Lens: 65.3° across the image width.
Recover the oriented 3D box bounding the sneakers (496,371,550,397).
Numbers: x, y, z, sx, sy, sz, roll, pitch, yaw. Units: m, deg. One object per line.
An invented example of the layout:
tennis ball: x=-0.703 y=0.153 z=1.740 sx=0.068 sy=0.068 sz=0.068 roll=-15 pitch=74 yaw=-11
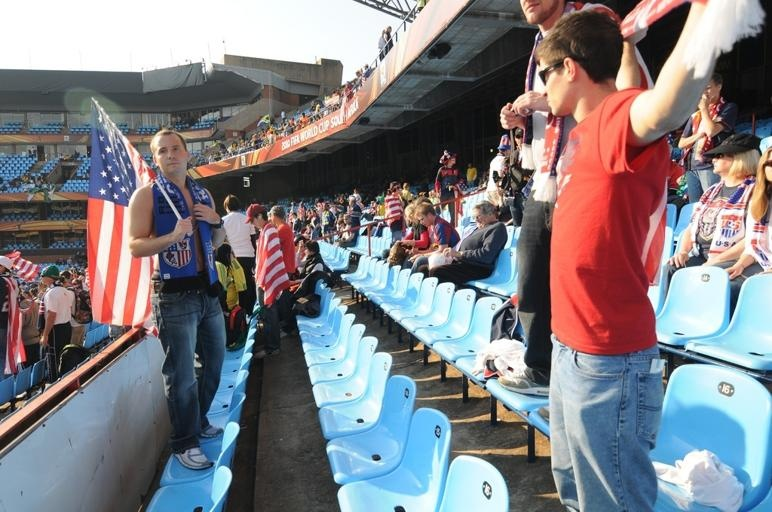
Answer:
sneakers: x=0.940 y=0.866 z=4.157 sx=0.355 sy=0.202 sz=0.127 roll=4 pitch=-4 yaw=36

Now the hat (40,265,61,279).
hat: x=-5.160 y=0.255 z=9.252 sx=0.172 sy=0.186 sz=0.271 roll=23 pitch=-10 yaw=0

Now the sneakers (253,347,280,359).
sneakers: x=-1.345 y=1.079 z=6.720 sx=0.297 sy=0.134 sz=0.098 roll=8 pitch=-14 yaw=-40

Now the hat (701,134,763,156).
hat: x=3.037 y=-0.961 z=5.235 sx=0.310 sy=0.120 sz=0.237 roll=-9 pitch=-1 yaw=-6

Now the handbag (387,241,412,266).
handbag: x=0.191 y=-0.045 z=8.380 sx=0.148 sy=0.426 sz=0.554 roll=6 pitch=3 yaw=-3

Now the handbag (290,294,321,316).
handbag: x=-0.961 y=0.595 z=7.214 sx=0.269 sy=0.136 sz=0.244 roll=5 pitch=5 yaw=19

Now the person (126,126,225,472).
person: x=-1.488 y=0.271 z=4.476 sx=0.507 sy=2.436 sz=0.664 roll=-1 pitch=7 yaw=26

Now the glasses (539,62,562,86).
glasses: x=0.849 y=-0.952 z=3.106 sx=0.084 sy=0.032 sz=0.087 roll=-35 pitch=-2 yaw=8

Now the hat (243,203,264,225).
hat: x=-1.723 y=-0.553 z=7.765 sx=0.289 sy=0.190 sz=0.221 roll=-23 pitch=19 yaw=35

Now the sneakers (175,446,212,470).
sneakers: x=-1.384 y=1.448 z=4.307 sx=0.302 sy=0.130 sz=0.116 roll=-2 pitch=7 yaw=26
